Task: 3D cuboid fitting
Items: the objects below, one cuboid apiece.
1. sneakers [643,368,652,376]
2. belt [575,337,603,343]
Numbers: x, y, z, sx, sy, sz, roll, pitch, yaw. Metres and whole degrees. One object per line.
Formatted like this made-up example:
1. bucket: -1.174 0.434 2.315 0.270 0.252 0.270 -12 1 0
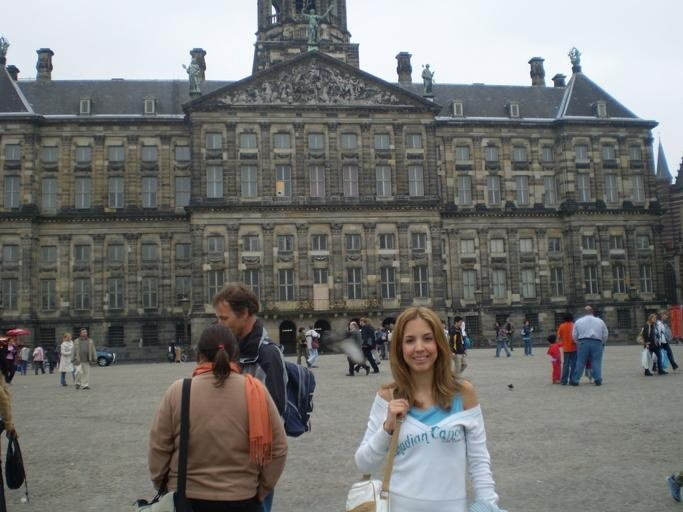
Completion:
1. sneakers: 9.427 3.591 24.130 0.153 0.278 0.417 1 4 42
2. belt: 6.800 2.299 21.353 0.776 0.168 0.386 -3 -6 4
